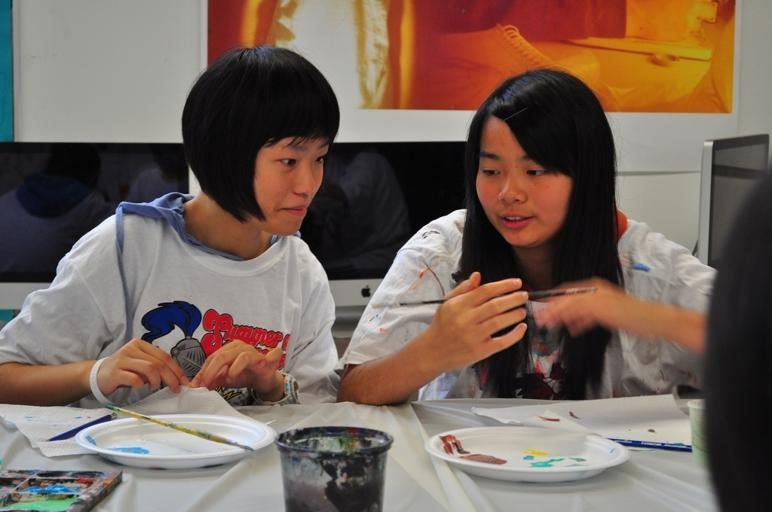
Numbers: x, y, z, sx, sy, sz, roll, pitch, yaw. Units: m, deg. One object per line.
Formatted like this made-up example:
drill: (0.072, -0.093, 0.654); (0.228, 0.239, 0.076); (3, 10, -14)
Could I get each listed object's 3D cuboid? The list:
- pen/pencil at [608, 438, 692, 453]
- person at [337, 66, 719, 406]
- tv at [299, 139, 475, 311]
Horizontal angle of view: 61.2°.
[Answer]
pen/pencil: (0.491, 0.354, 1.213); (0.176, 0.021, 0.020); (2, -6, -7)
person: (0.379, -0.007, 1.623); (0.933, 0.923, 0.588); (5, 11, -3)
tv: (-0.019, -0.111, 2.161); (0.528, 0.409, 0.057); (-18, 6, -9)
